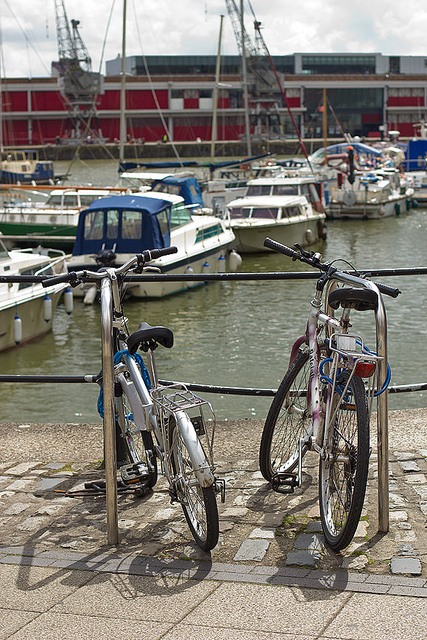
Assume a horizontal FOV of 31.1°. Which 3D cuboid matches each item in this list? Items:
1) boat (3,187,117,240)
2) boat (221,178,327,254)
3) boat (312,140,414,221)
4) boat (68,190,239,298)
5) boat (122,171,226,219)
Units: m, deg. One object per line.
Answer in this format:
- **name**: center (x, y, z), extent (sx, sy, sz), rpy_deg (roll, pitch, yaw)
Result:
- **boat**: center (-5.171, -3.319, 24.576), extent (3.289, 1.075, 2.021), rpy_deg (3, 14, 12)
- **boat**: center (1.870, -3.338, 26.442), extent (2.720, 2.293, 5.899), rpy_deg (7, 16, 22)
- **boat**: center (7.888, -6.873, 38.978), extent (5.252, 2.575, 7.458), rpy_deg (4, 16, 13)
- **boat**: center (-1.152, -2.205, 20.775), extent (2.606, 2.414, 7.015), rpy_deg (5, 12, 21)
- **boat**: center (-1.840, -3.665, 24.236), extent (2.482, 0.962, 3.329), rpy_deg (-6, 14, 22)
